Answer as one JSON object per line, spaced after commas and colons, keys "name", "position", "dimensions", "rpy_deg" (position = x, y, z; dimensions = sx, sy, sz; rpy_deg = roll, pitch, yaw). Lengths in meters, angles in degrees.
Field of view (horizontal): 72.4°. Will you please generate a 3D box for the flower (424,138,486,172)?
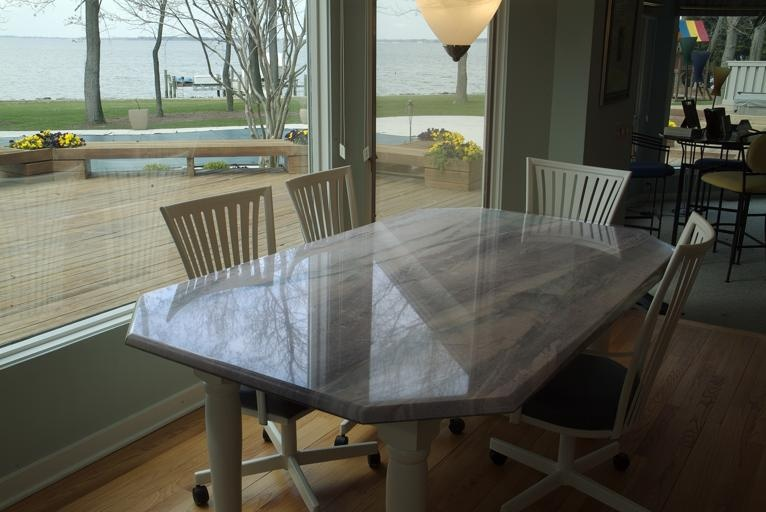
{"name": "flower", "position": [0.565, -0.808, 4.237], "dimensions": [0.357, 0.158, 0.272], "rpy_deg": [-3, 44, 4]}
